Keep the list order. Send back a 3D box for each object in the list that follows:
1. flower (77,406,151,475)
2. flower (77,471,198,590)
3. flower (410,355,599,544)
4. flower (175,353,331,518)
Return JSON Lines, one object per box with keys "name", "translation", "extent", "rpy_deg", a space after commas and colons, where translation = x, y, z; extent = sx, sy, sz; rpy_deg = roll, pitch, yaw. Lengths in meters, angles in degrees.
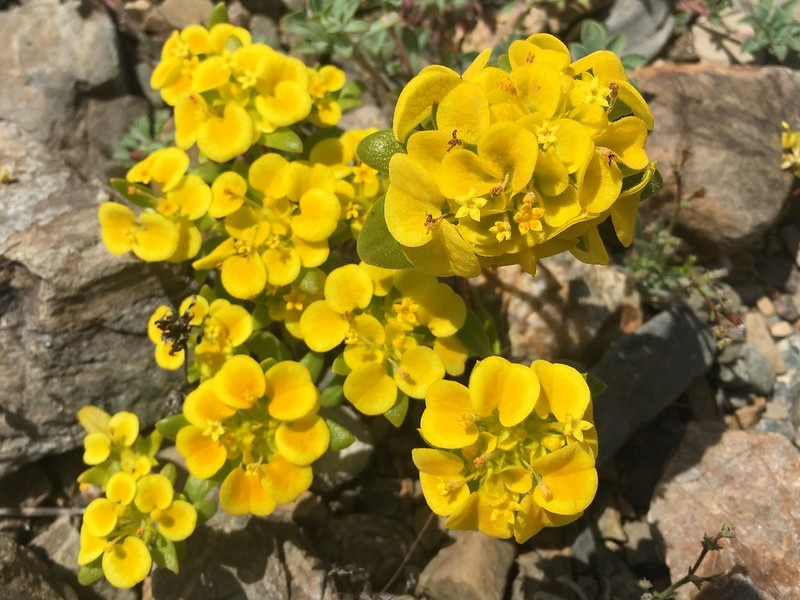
{"name": "flower", "translation": [-1.468, 0.732, 5.401], "extent": [0.499, 0.166, 0.377], "rpy_deg": [-8, 30, 27]}
{"name": "flower", "translation": [-1.309, 1.143, 5.209], "extent": [0.612, 0.232, 0.565], "rpy_deg": [-14, 88, 4]}
{"name": "flower", "translation": [0.516, 0.711, 5.002], "extent": [0.877, 0.584, 0.753], "rpy_deg": [10, 52, 1]}
{"name": "flower", "translation": [-0.769, 0.569, 5.135], "extent": [0.336, 0.894, 0.824], "rpy_deg": [18, 89, -33]}
